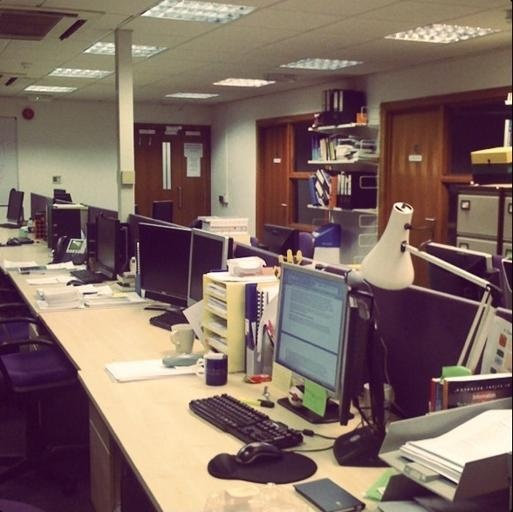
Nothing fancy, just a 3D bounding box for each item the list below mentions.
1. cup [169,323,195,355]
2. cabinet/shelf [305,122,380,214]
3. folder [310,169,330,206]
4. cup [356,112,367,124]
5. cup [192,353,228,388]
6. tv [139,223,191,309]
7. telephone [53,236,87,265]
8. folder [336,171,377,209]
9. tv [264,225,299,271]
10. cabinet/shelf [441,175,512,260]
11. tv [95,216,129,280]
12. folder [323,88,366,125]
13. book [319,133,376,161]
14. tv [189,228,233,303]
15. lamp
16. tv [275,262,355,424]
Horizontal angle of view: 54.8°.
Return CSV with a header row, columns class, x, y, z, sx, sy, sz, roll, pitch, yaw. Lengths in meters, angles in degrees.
class,x,y,z,sx,sy,sz,roll,pitch,yaw
cup,-0.326,0.364,2.199,0.079,0.109,0.133,3,9,18
cabinet/shelf,1.150,-1.126,6.380,0.401,1.288,1.288,-2,4,-24
folder,0.877,-0.920,6.694,0.115,0.447,0.312,-1,24,17
cup,1.304,-1.697,6.187,0.116,0.144,0.254,2,9,36
cup,-0.177,0.426,1.901,0.127,0.116,0.091,-4,8,-15
tv,-0.523,0.054,2.848,0.079,0.700,0.437,-2,0,-39
telephone,-1.805,-0.042,4.813,0.291,0.353,0.107,0,-21,-5
folder,1.285,-0.790,6.371,0.509,0.594,0.399,-2,6,-25
tv,0.172,-0.098,3.206,0.185,0.183,0.557,-4,8,-5
cabinet/shelf,1.842,-0.317,4.107,0.341,0.777,0.701,-2,8,-17
tv,-1.141,-0.049,3.906,0.142,0.391,0.415,-1,8,-29
folder,1.124,-1.884,6.337,0.531,0.620,0.421,3,14,11
book,1.123,-1.332,6.211,0.385,0.202,0.544,5,7,27
tv,-0.219,0.057,2.333,0.105,0.340,0.316,3,3,-27
lamp,0.502,0.071,1.335,0.307,0.434,0.377,-9,9,-40
tv,0.177,0.273,1.502,0.131,0.476,0.415,3,0,-31
